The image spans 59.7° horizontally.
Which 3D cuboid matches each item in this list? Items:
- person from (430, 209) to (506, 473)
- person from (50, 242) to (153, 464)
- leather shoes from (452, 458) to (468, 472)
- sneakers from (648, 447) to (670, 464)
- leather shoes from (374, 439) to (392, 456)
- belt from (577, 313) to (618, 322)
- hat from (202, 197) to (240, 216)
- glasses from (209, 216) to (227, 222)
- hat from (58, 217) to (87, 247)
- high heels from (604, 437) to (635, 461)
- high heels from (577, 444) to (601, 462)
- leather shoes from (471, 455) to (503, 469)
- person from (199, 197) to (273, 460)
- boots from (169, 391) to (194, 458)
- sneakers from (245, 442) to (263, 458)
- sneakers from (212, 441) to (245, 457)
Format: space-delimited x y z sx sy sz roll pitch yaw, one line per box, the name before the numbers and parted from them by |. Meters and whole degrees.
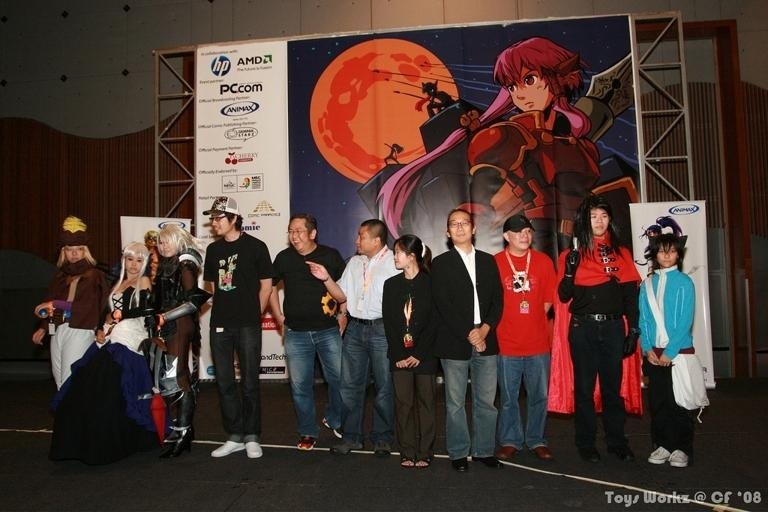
person | 1.057 1.070 8.664 0.915 3.235 0.832 1 11 9
person | -3.751 1.291 8.943 1.359 2.741 0.873 -6 12 -23
leather shoes | 0.970 2.678 8.595 0.192 0.197 0.121 0 5 2
sneakers | 3.568 2.585 8.683 0.297 0.149 0.147 0 -1 -14
leather shoes | -0.023 2.562 8.939 0.167 0.072 0.234 2 11 1
belt | 2.809 0.808 8.830 0.544 0.090 0.065 1 12 9
hat | -2.229 -0.678 9.140 0.408 0.214 0.295 4 3 -10
glasses | -2.248 -0.510 9.055 0.205 0.086 0.055 1 12 11
hat | -4.601 -0.316 9.934 0.346 0.480 0.200 1 -40 -23
high heels | 3.101 2.558 8.815 0.154 0.178 0.398 -2 -2 -15
high heels | 2.684 2.590 8.760 0.139 0.122 0.288 -4 -5 -13
leather shoes | 1.340 2.662 8.737 0.394 0.164 0.148 -3 -4 29
person | -1.991 0.945 9.079 0.885 3.403 0.928 0 11 4
boots | -2.743 2.259 9.061 0.358 0.840 0.201 -4 11 -16
sneakers | -1.761 2.590 9.018 0.225 0.210 0.217 -4 12 -14
sneakers | -2.109 2.609 9.128 0.464 0.192 0.183 -2 4 -27
